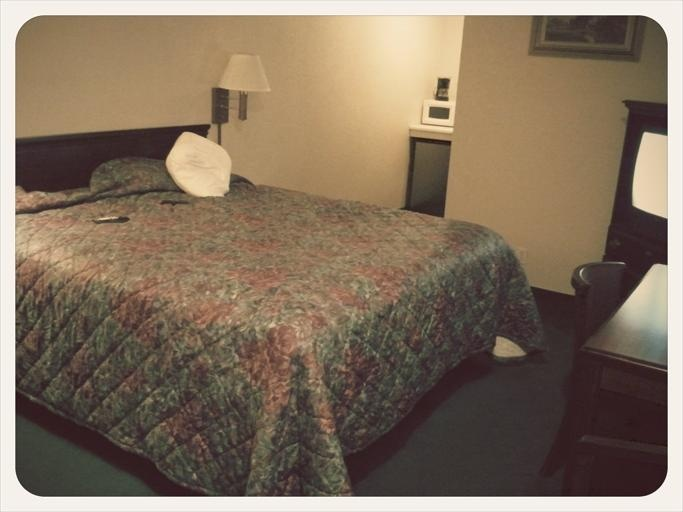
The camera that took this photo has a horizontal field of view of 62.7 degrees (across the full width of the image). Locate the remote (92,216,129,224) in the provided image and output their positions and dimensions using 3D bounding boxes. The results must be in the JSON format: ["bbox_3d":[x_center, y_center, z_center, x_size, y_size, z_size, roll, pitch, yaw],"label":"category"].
[{"bbox_3d":[-1.184,-0.179,2.870,0.092,0.025,0.033,-8,14,-26],"label":"remote"}]

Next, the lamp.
[{"bbox_3d":[-0.736,-1.166,4.021,0.486,0.504,0.386,13,17,26],"label":"lamp"}]

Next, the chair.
[{"bbox_3d":[0.969,0.474,2.078,0.273,0.461,0.819,20,45,30],"label":"chair"}]

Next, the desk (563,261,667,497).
[{"bbox_3d":[0.932,0.428,1.893,0.254,0.439,0.782,5,41,25],"label":"desk"}]

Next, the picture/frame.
[{"bbox_3d":[1.671,-1.483,3.847,0.719,0.280,0.070,10,14,25],"label":"picture/frame"}]
